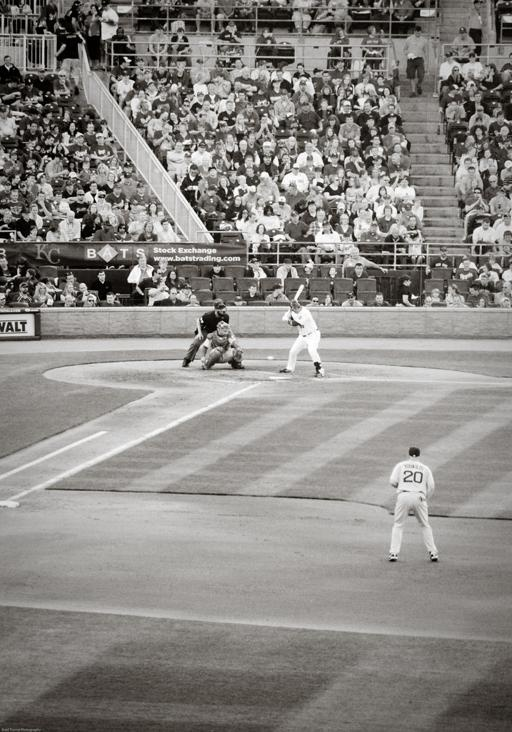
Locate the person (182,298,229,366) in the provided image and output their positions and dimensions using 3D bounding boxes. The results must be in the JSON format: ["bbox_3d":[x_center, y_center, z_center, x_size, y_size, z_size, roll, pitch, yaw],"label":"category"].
[{"bbox_3d":[-1.101,-0.706,38.305,0.613,1.634,1.790,-3,12,-14],"label":"person"}]

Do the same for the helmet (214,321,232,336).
[{"bbox_3d":[-0.705,-0.829,37.633,0.220,0.309,0.290,18,29,40],"label":"helmet"}]

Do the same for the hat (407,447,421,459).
[{"bbox_3d":[2.165,1.194,25.202,0.171,0.235,0.238,3,9,2],"label":"hat"}]

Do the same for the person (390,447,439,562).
[{"bbox_3d":[2.211,1.919,25.596,0.709,1.819,1.064,1,11,4],"label":"person"}]

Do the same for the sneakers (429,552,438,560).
[{"bbox_3d":[2.489,2.643,25.727,0.072,0.105,0.225,-1,-7,1],"label":"sneakers"}]

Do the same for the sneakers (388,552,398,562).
[{"bbox_3d":[1.921,2.658,25.819,0.099,0.145,0.138,-1,0,-23],"label":"sneakers"}]

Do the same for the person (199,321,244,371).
[{"bbox_3d":[-0.757,-0.500,38.598,0.773,1.107,0.630,4,22,3],"label":"person"}]
